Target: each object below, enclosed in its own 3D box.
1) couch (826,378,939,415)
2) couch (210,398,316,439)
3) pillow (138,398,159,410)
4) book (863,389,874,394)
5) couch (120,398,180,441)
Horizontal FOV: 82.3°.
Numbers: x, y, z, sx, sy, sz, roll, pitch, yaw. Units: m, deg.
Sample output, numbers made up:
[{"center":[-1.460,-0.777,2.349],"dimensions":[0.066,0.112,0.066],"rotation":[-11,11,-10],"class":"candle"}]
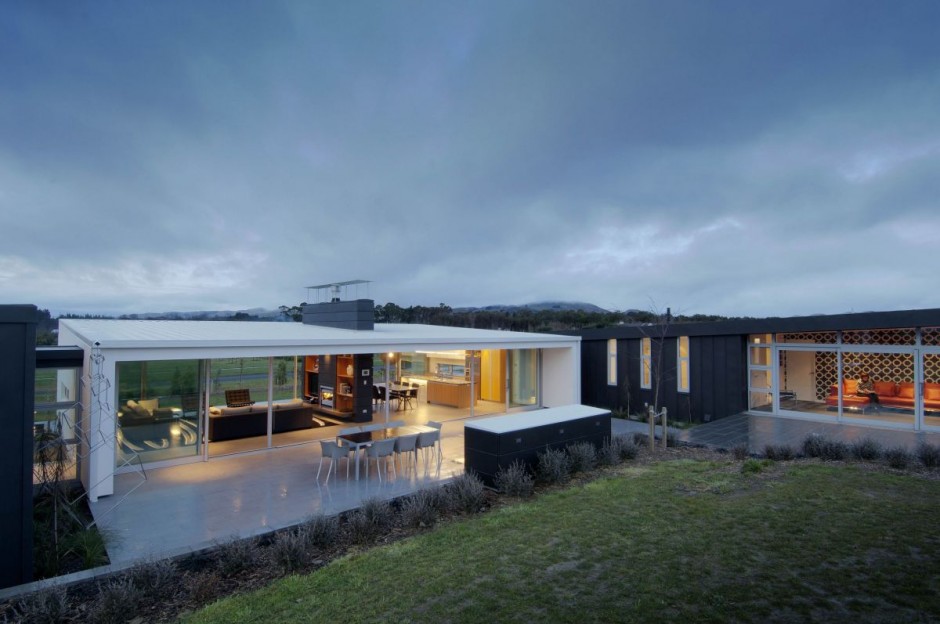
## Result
[{"center":[13.861,2.833,18.027],"dimensions":[1.798,1.111,2.795],"rotation":[2,-7,-37],"class":"couch"},{"center":[-6.908,3.610,17.866],"dimensions":[3.057,1.160,0.731],"rotation":[1,-6,-28],"class":"couch"},{"center":[-9.026,2.615,15.207],"dimensions":[0.489,0.337,0.105],"rotation":[2,-6,-37],"class":"pillow"},{"center":[13.791,2.777,18.633],"dimensions":[0.221,0.088,0.227],"rotation":[0,0,-44],"class":"book"},{"center":[-9.209,2.948,15.443],"dimensions":[1.185,1.001,1.260],"rotation":[-1,4,-37],"class":"couch"}]
